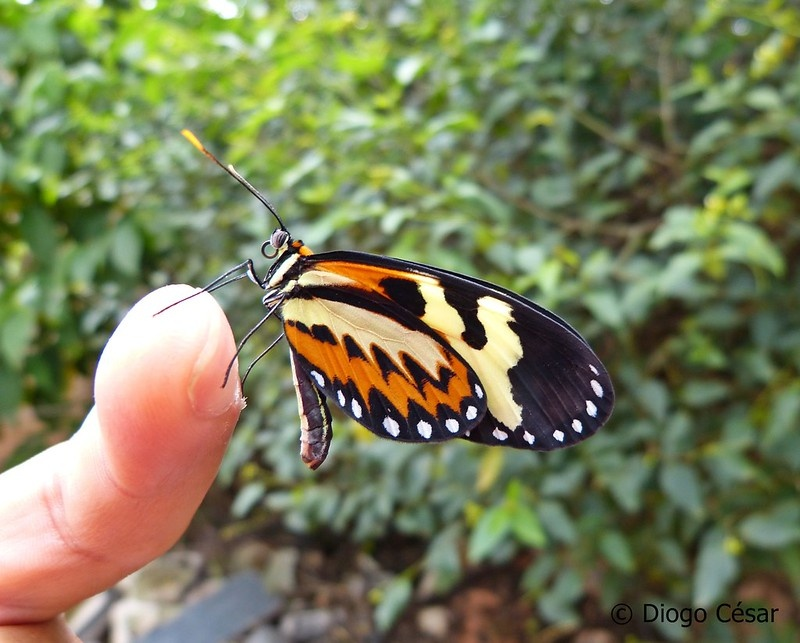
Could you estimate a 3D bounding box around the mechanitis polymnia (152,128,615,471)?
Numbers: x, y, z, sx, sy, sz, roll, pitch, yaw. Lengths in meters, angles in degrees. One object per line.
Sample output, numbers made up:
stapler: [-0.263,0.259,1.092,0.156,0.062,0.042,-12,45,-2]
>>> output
mechanitis polymnia: [0.056,0.036,1.363,0.546,0.317,0.347,-7,62,9]
